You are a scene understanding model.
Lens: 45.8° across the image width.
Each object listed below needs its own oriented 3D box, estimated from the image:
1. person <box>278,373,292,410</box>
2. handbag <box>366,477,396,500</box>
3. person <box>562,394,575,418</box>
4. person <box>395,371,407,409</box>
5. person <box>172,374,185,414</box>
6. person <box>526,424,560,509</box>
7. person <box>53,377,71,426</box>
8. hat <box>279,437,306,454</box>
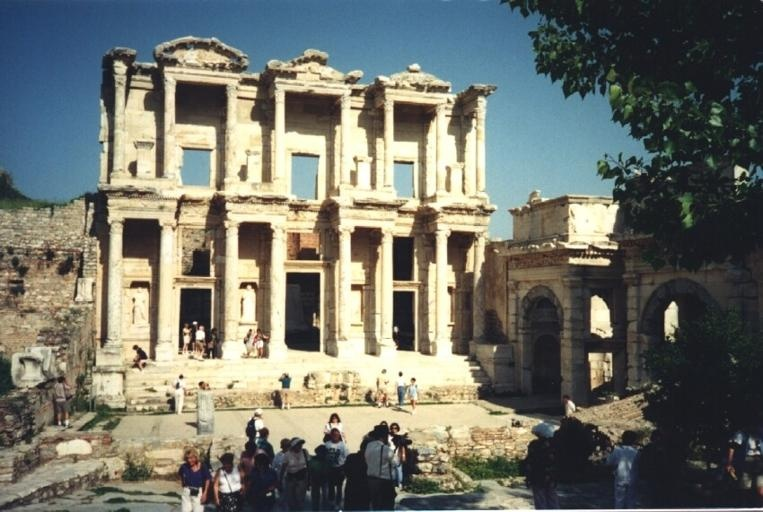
[{"bbox_3d":[-3.562,4.926,33.203,0.395,1.096,1.109,2,6,-7],"label":"person"},{"bbox_3d":[0.033,5.613,22.122,0.760,0.659,0.503,5,-12,-16],"label":"handbag"},{"bbox_3d":[6.676,5.271,31.979,0.470,1.227,0.770,0,-16,16],"label":"person"},{"bbox_3d":[0.722,4.931,33.858,0.359,1.279,0.957,3,7,2],"label":"person"},{"bbox_3d":[-7.106,4.793,31.542,0.347,1.285,0.735,1,7,-13],"label":"person"},{"bbox_3d":[3.980,5.221,22.255,0.854,1.897,0.811,4,7,9],"label":"person"},{"bbox_3d":[-10.013,4.505,28.109,0.473,1.452,0.829,1,7,-19],"label":"person"},{"bbox_3d":[-2.279,4.738,22.711,0.537,0.135,0.500,-15,-18,5],"label":"hat"}]
